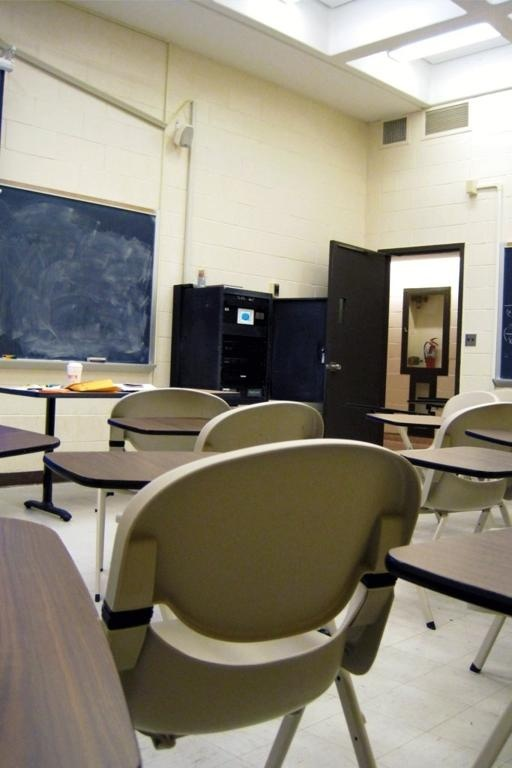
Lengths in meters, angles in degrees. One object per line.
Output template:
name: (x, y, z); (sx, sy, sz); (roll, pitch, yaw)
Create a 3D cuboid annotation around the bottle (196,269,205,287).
bottle: (-0.511, -1.004, 5.285); (0.085, 0.164, 0.201); (3, 0, -6)
